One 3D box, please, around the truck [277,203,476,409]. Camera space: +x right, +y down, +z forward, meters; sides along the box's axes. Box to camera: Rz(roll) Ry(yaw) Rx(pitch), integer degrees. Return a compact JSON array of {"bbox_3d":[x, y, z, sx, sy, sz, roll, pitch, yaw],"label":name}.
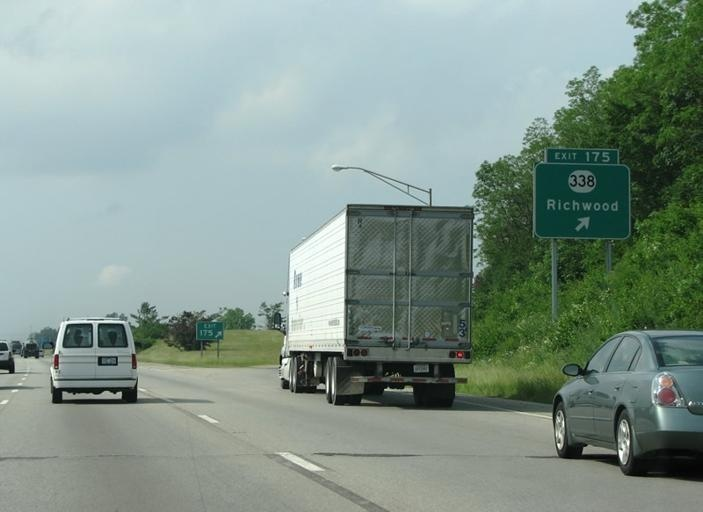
[{"bbox_3d":[0.178,1.998,31.483,3.324,5.386,10.523,2,-5,-16],"label":"truck"}]
